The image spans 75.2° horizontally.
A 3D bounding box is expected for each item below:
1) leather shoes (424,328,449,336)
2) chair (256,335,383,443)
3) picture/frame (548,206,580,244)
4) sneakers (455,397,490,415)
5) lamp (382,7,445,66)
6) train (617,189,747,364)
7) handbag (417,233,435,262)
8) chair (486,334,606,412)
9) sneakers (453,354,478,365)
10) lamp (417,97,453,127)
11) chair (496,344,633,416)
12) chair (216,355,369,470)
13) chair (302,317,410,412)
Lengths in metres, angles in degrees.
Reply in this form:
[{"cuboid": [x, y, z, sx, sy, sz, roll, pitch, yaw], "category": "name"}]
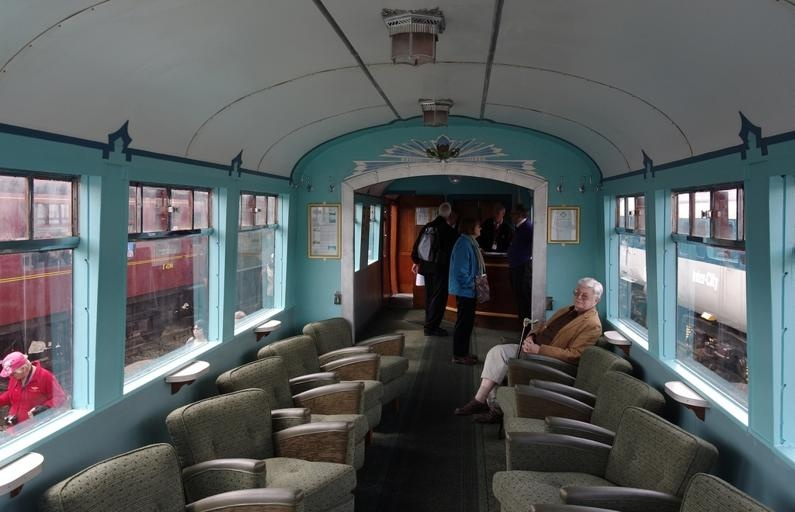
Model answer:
[{"cuboid": [0.762, 1.465, 10.055, 0.490, 0.214, 0.167, -1, 0, -2], "category": "leather shoes"}, {"cuboid": [-0.774, 1.537, 6.274, 1.262, 1.229, 1.253, -6, 1, 21], "category": "chair"}, {"cuboid": [2.607, -0.517, 8.084, 0.575, 0.758, 0.051, 0, 2, 3], "category": "picture/frame"}, {"cuboid": [0.974, 1.966, 6.717, 0.503, 0.203, 0.183, -1, -1, -4], "category": "sneakers"}, {"cuboid": [0.136, -1.774, 4.283, 0.396, 0.284, 0.390, 0, 1, 3], "category": "lamp"}, {"cuboid": [3.052, 0.144, 5.784, 0.238, 1.954, 2.461, 0, 10, 3], "category": "train"}, {"cuboid": [0.529, -0.209, 9.473, 0.338, 0.592, 0.128, 6, 11, 33], "category": "handbag"}, {"cuboid": [1.732, 1.443, 6.209, 1.061, 1.180, 0.995, 0, -5, 2], "category": "chair"}, {"cuboid": [1.123, 1.688, 8.518, 0.333, 0.132, 0.175, -1, 1, 5], "category": "sneakers"}, {"cuboid": [0.464, -1.836, 6.552, 0.386, 0.300, 0.413, -1, 10, -3], "category": "lamp"}, {"cuboid": [1.782, 1.305, 5.784, 1.037, 0.986, 0.972, 2, 0, -1], "category": "chair"}, {"cuboid": [-0.967, 1.398, 5.613, 1.298, 1.316, 1.239, -2, -1, 20], "category": "chair"}, {"cuboid": [-0.489, 1.242, 7.066, 1.248, 1.278, 1.253, -1, 1, 20], "category": "chair"}]
